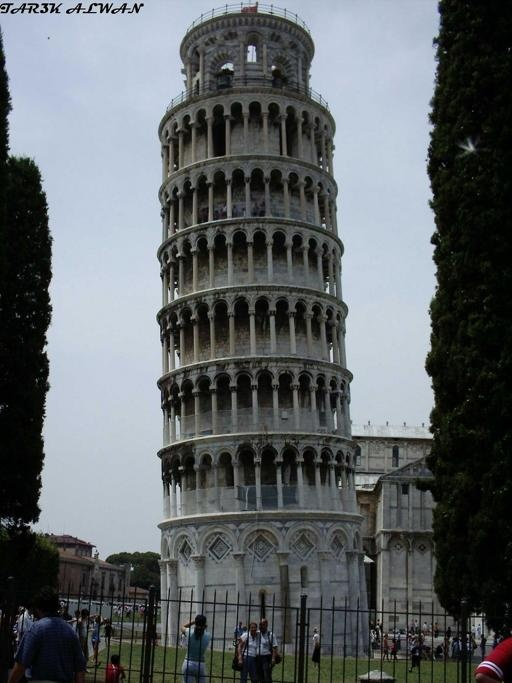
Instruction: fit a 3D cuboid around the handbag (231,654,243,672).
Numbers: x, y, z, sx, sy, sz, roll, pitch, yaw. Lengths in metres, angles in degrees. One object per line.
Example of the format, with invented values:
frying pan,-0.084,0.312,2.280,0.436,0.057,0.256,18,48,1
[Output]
handbag,-0.315,5.370,16.553,0.140,0.244,0.353,1,-15,-4
